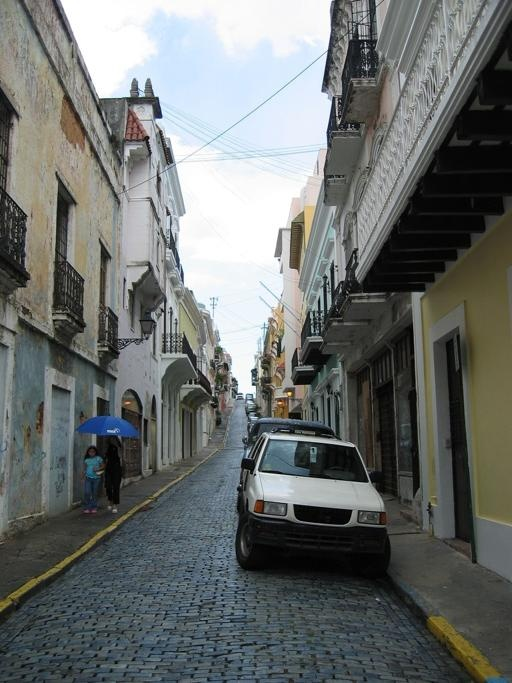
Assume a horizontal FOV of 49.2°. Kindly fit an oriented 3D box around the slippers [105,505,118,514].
[{"bbox_3d":[-2.988,3.548,11.661,0.113,0.250,0.475,2,-22,-4],"label":"slippers"}]

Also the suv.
[{"bbox_3d":[0.623,1.912,6.913,0.896,1.424,2.360,1,-21,-2],"label":"suv"}]

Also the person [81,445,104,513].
[{"bbox_3d":[-3.357,2.868,11.600,0.374,1.371,0.918,2,-7,-18],"label":"person"}]

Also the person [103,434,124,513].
[{"bbox_3d":[-3.066,2.849,12.064,0.391,1.539,1.276,1,-8,-15],"label":"person"}]
